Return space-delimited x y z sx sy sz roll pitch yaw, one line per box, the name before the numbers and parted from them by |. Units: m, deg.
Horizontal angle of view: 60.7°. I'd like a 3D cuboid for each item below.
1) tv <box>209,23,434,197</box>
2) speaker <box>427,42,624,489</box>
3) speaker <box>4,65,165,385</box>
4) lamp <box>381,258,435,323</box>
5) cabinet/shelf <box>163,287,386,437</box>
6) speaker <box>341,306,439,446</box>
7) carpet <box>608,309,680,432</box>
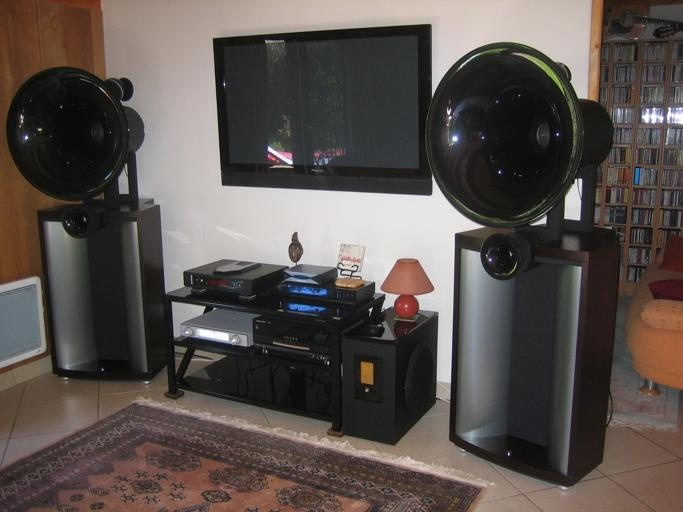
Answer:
tv | -0.079 -0.901 3.513 1.023 0.768 0.083 4 16 18
speaker | 0.881 0.074 2.781 0.754 1.989 0.854 9 14 36
speaker | -1.548 -0.151 3.605 0.826 1.905 0.621 -3 12 -18
lamp | 0.399 0.162 3.371 0.296 0.362 0.320 1 12 15
cabinet/shelf | -0.415 0.546 3.600 1.157 0.712 0.713 7 12 24
speaker | 0.292 0.656 3.384 0.350 0.587 0.650 5 9 31
carpet | 1.795 0.679 3.439 0.385 0.154 0.627 5 27 21
